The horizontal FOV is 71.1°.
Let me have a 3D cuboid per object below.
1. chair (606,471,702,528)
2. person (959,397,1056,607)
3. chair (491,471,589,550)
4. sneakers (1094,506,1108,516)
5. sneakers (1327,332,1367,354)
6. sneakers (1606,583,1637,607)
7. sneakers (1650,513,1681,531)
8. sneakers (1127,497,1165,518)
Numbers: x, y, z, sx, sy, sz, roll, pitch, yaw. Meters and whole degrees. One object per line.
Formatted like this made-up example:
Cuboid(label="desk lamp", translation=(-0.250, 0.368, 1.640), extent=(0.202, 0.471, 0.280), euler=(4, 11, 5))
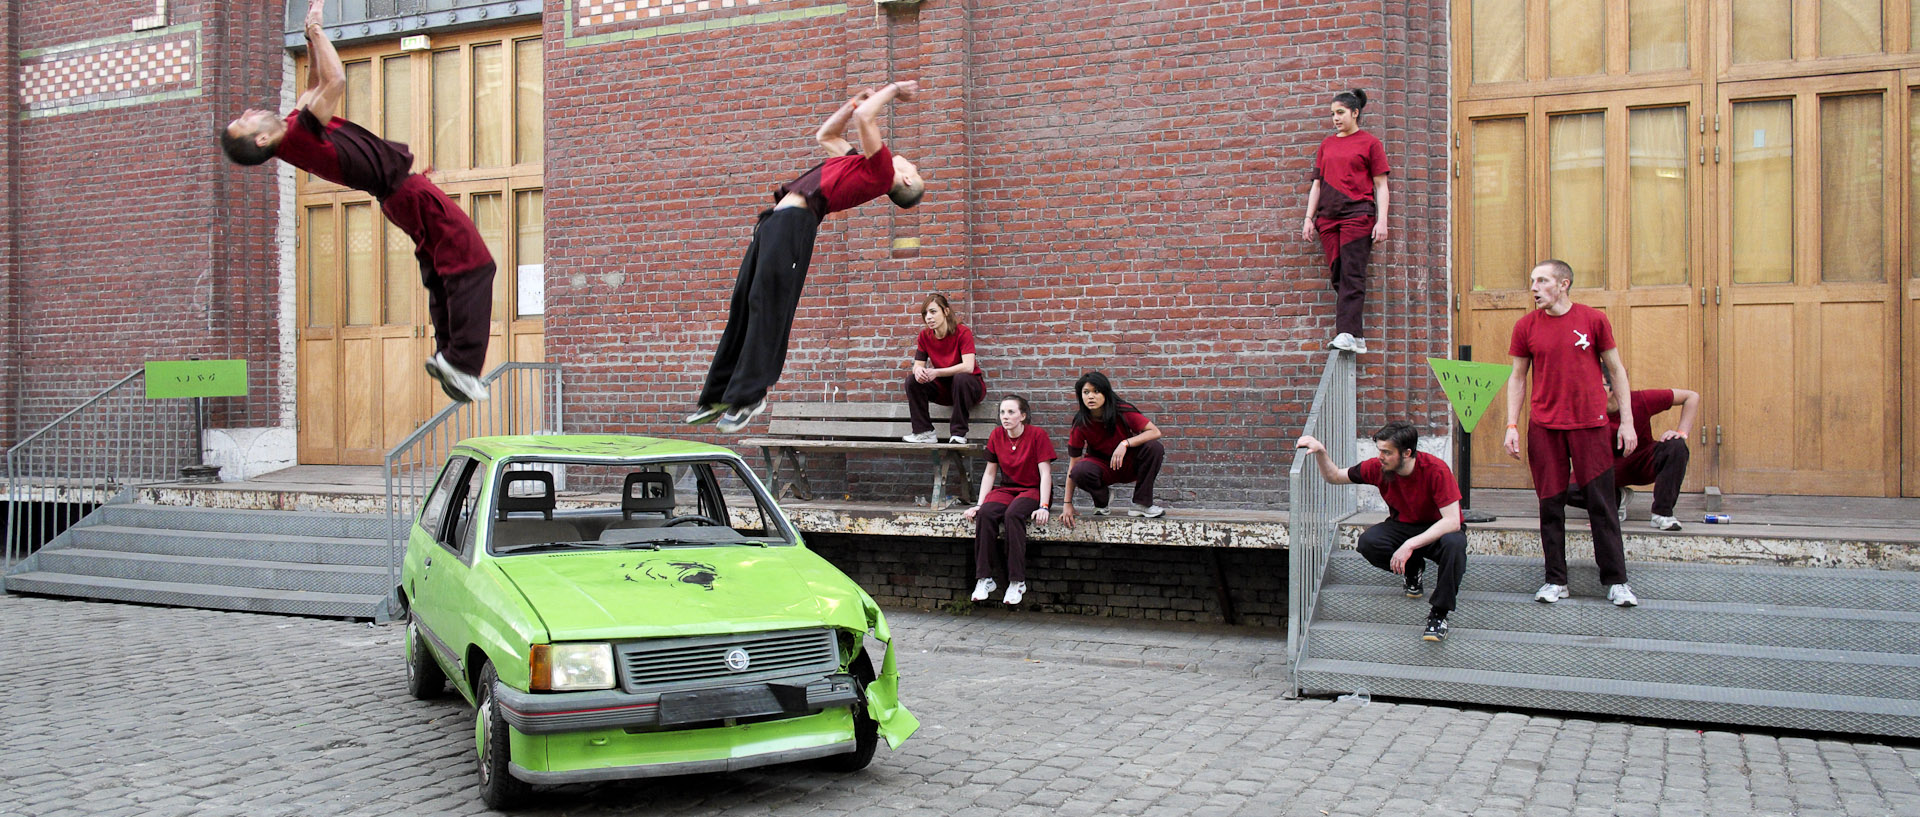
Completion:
Cuboid(label="chair", translation=(-3.993, 1.152, 17.304), extent=(0.911, 0.908, 0.841), euler=(1, -4, -10))
Cuboid(label="person", translation=(0.647, 1.337, 19.559), extent=(1.237, 3.008, 1.058), euler=(2, 4, 44))
Cuboid(label="chair", translation=(-5.237, 1.271, 16.964), extent=(1.915, 0.942, 1.202), euler=(-1, 3, -18))
Cuboid(label="sneakers", translation=(2.042, 1.502, 19.594), extent=(0.157, 0.059, 0.175), euler=(1, 7, 11))
Cuboid(label="sneakers", translation=(5.582, -0.920, 19.399), extent=(0.695, 0.225, 0.231), euler=(7, -3, -30))
Cuboid(label="sneakers", translation=(8.614, 2.461, 17.508), extent=(0.228, 0.148, 0.429), euler=(-4, -6, 3))
Cuboid(label="sneakers", translation=(9.461, 1.522, 17.975), extent=(0.353, 0.192, 0.231), euler=(0, 3, 13))
Cuboid(label="sneakers", translation=(2.680, 1.456, 19.467), extent=(0.597, 0.220, 0.217), euler=(0, 3, 9))
